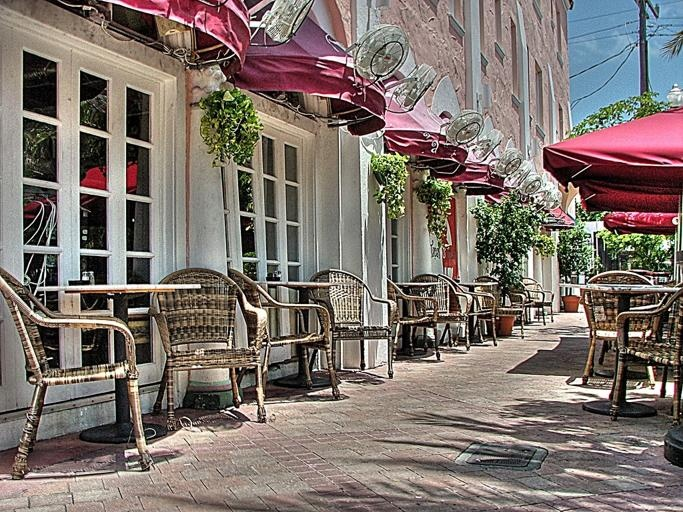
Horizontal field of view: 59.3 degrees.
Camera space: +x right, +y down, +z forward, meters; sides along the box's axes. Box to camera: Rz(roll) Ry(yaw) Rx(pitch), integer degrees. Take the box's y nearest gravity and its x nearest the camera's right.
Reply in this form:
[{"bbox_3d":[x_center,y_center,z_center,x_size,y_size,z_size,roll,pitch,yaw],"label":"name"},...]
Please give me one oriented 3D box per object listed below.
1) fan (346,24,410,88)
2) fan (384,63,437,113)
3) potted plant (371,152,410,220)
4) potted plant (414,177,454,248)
[{"bbox_3d":[0.319,-1.859,5.434,0.424,0.434,0.149,7,-20,-23],"label":"fan"},{"bbox_3d":[0.782,-1.858,6.645,0.525,0.287,0.679,-4,-27,-21],"label":"fan"},{"bbox_3d":[0.629,-0.914,7.534,0.376,0.850,0.499,-3,-6,26],"label":"potted plant"},{"bbox_3d":[1.493,-0.737,9.288,0.499,0.862,0.518,-11,20,-28],"label":"potted plant"}]
